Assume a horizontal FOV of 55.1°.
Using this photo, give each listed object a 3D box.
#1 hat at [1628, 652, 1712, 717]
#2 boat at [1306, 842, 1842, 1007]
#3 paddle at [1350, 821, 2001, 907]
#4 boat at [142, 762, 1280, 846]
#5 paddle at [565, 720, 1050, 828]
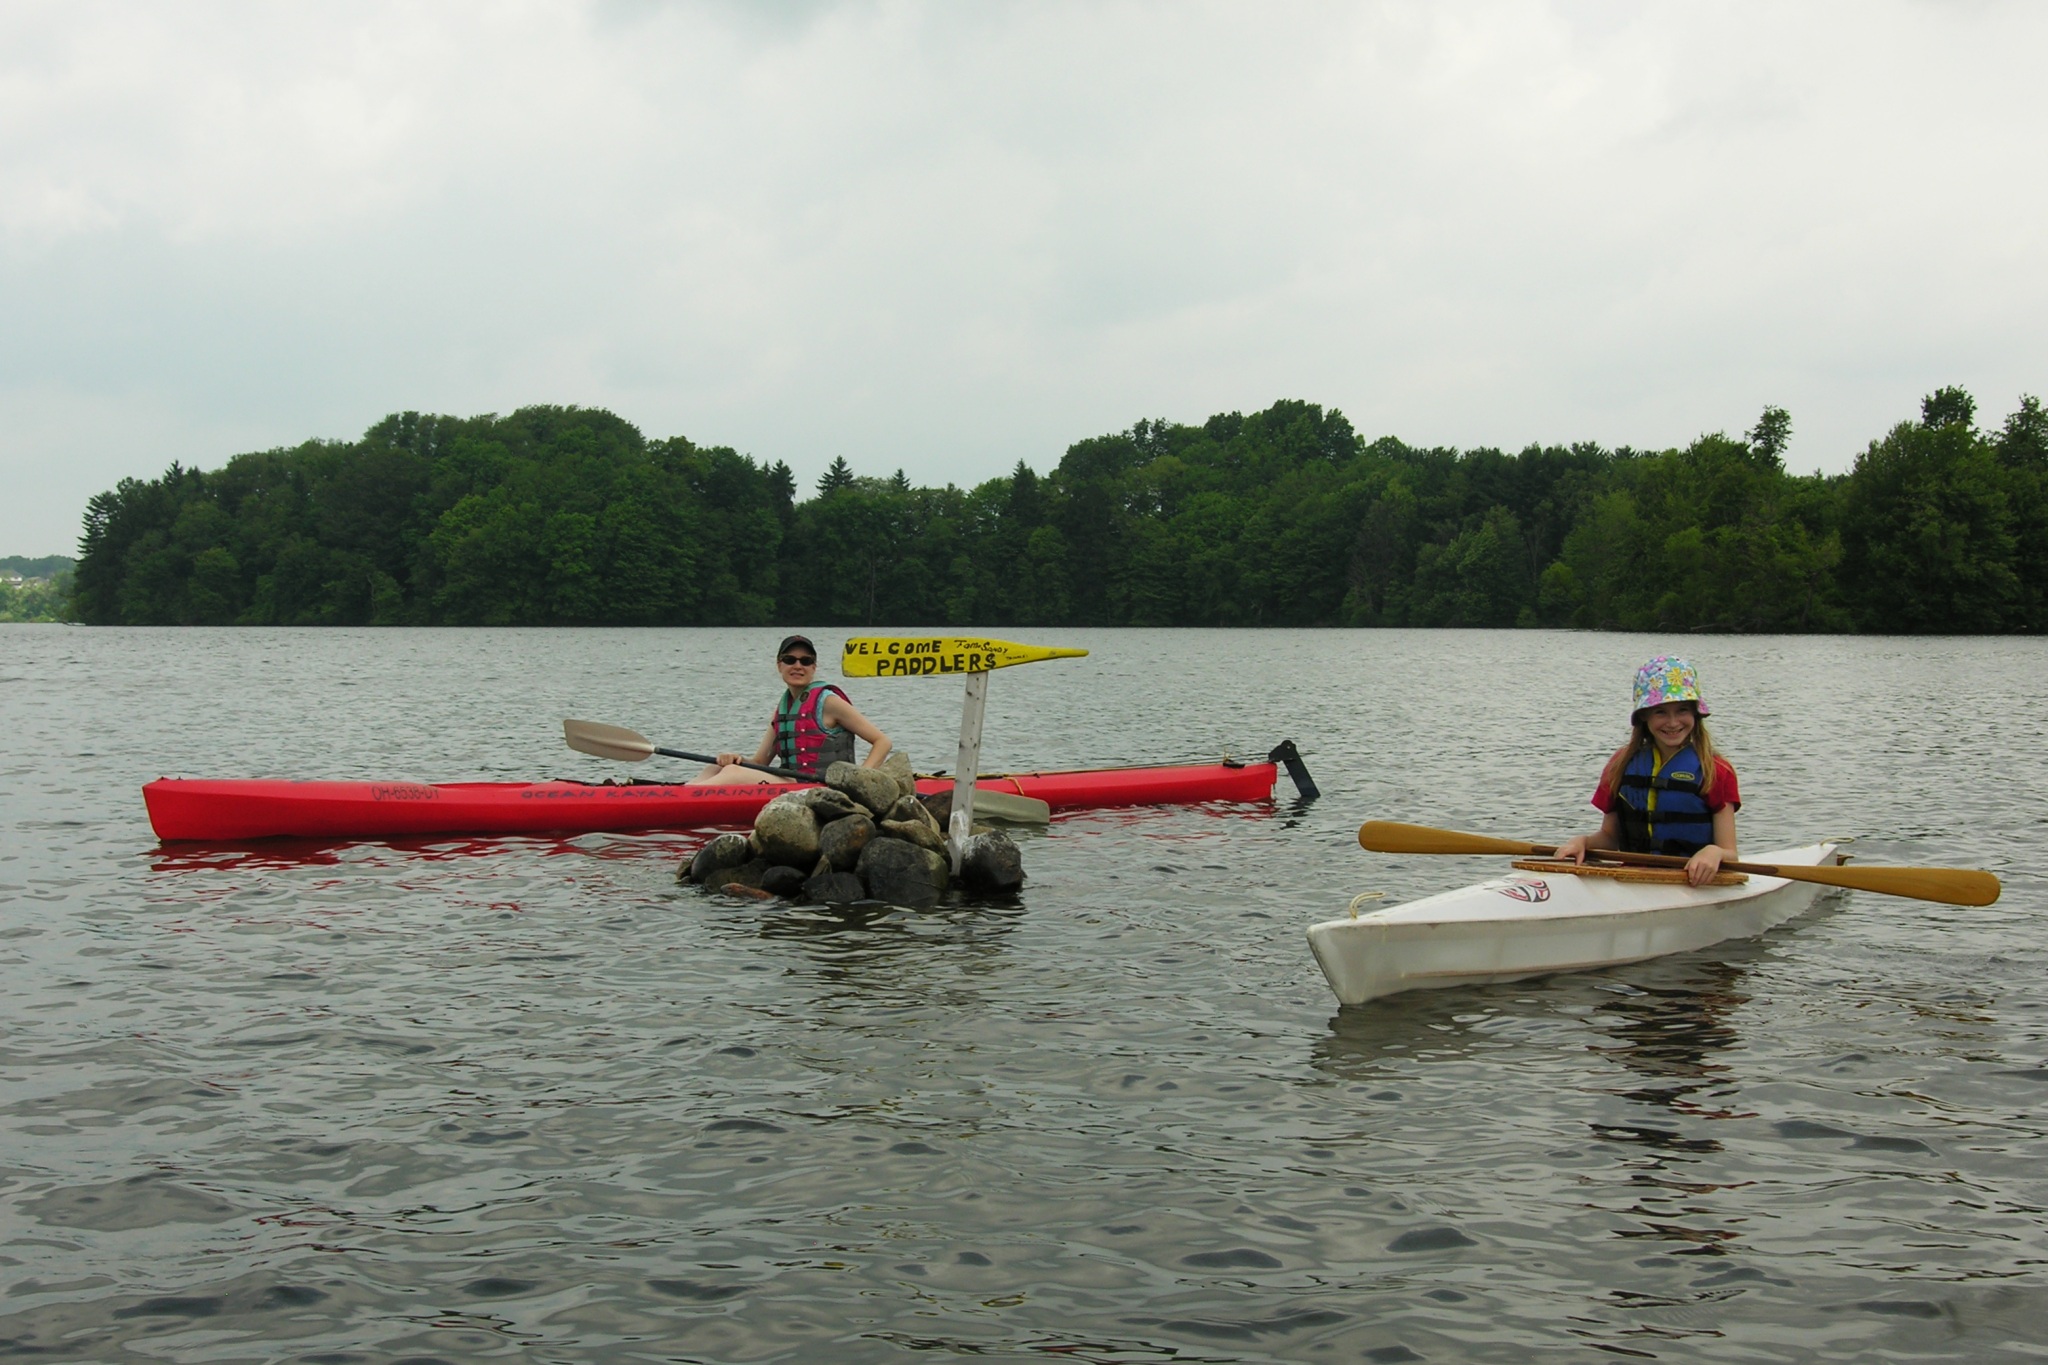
[{"bbox_3d":[4.561,-0.007,13.816,0.698,0.319,0.816,-3,-9,13],"label":"hat"},{"bbox_3d":[4.071,1.639,13.798,5.119,0.440,0.981,-5,11,-25],"label":"boat"},{"bbox_3d":[5.029,1.388,15.091,6.719,0.386,0.421,4,-1,-2],"label":"paddle"},{"bbox_3d":[-2.709,1.144,18.557,10.526,0.451,1.051,0,1,-15],"label":"boat"},{"bbox_3d":[-2.205,0.907,19.608,5.273,0.487,0.280,7,40,1],"label":"paddle"}]
